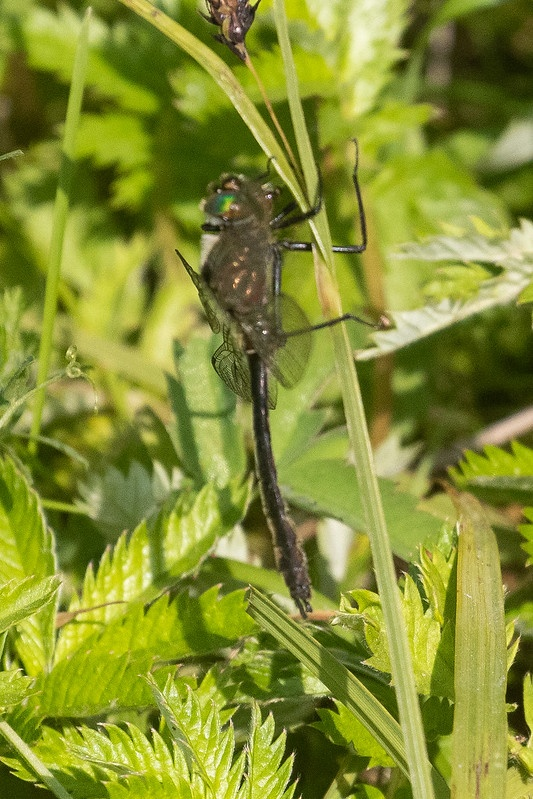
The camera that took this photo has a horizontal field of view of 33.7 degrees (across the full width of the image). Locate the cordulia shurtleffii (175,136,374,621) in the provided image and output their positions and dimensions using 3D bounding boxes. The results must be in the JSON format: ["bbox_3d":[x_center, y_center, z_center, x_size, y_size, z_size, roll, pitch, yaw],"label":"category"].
[{"bbox_3d":[0.003,-0.055,1.351,0.427,0.650,0.167,-17,25,-31],"label":"cordulia shurtleffii"}]
